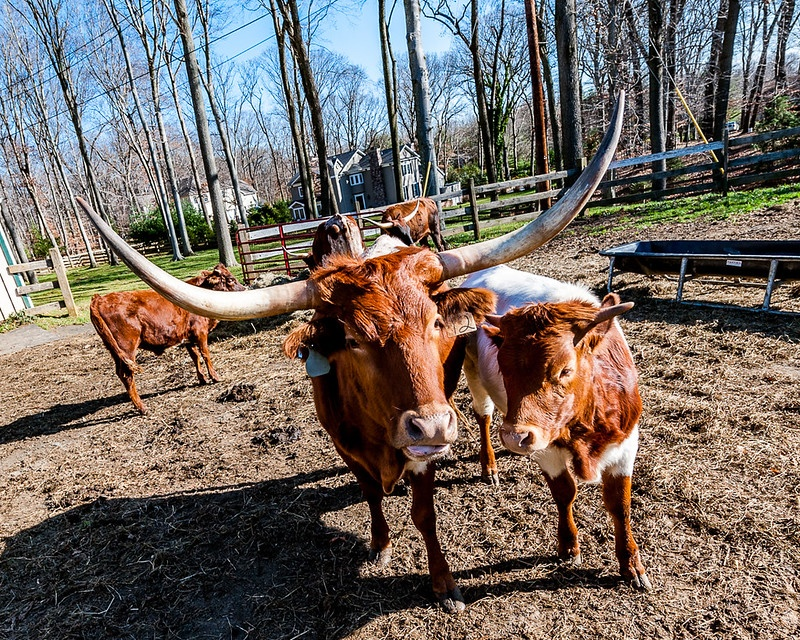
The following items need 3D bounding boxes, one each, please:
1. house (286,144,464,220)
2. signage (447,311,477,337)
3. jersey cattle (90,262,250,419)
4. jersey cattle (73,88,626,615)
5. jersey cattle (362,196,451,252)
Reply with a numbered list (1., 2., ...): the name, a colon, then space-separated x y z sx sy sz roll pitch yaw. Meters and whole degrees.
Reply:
1. house: -1.524 -10.383 47.642 4.649 4.386 7.546 -15 12 -36
2. signage: 0.583 0.026 6.182 0.184 0.155 0.027 -6 3 -7
3. jersey cattle: -3.423 0.204 10.325 0.830 1.904 2.588 -2 13 45
4. jersey cattle: -0.054 0.232 7.798 4.420 4.228 4.610 -5 7 -1
5. jersey cattle: 0.384 -1.908 12.487 0.934 1.378 2.384 -2 4 27
